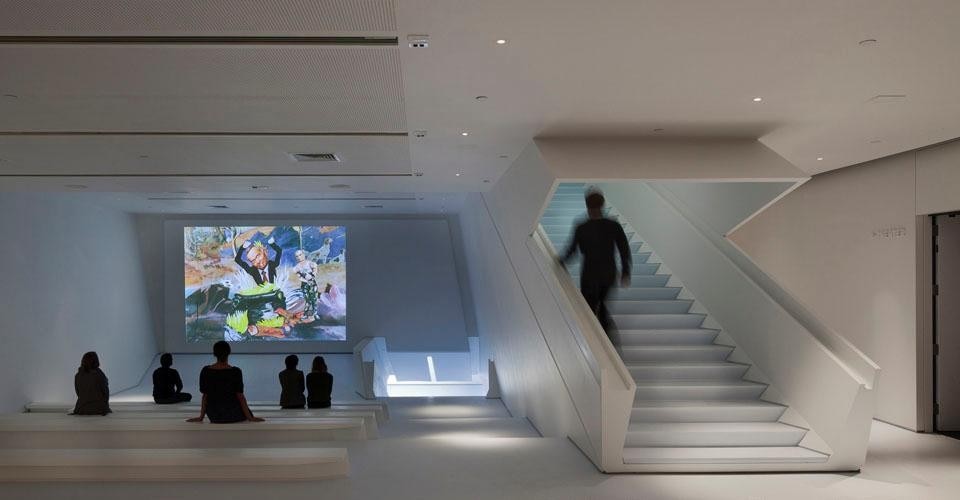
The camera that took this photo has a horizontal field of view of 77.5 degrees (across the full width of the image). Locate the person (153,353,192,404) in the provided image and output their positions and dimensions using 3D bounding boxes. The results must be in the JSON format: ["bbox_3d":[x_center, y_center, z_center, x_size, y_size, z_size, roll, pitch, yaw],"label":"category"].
[{"bbox_3d":[-7.171,3.013,13.864,0.963,1.011,0.941,10,-17,-39],"label":"person"}]

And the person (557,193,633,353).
[{"bbox_3d":[2.046,0.327,10.574,1.167,2.848,0.543,-4,-7,5],"label":"person"}]
